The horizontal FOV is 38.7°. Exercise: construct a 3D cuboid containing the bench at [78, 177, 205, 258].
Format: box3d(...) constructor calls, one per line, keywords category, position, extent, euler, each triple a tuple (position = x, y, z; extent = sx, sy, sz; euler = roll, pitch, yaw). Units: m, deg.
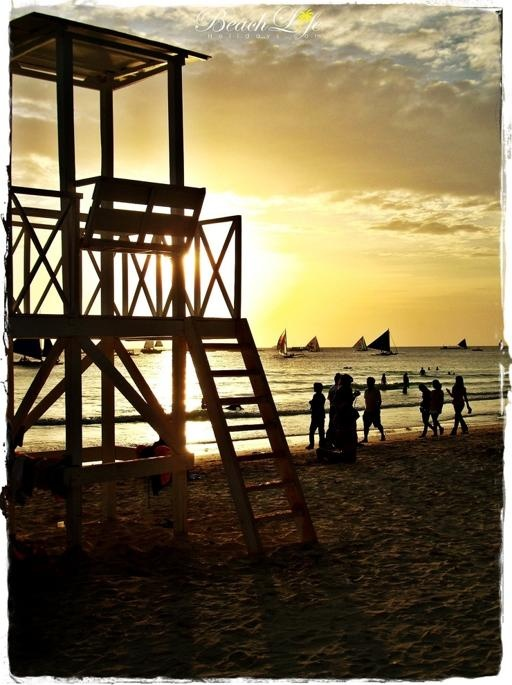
box3d(category="bench", position=(-1.161, -1.270, 7.519), extent=(0.659, 0.652, 1.453), euler=(0, 2, 44))
